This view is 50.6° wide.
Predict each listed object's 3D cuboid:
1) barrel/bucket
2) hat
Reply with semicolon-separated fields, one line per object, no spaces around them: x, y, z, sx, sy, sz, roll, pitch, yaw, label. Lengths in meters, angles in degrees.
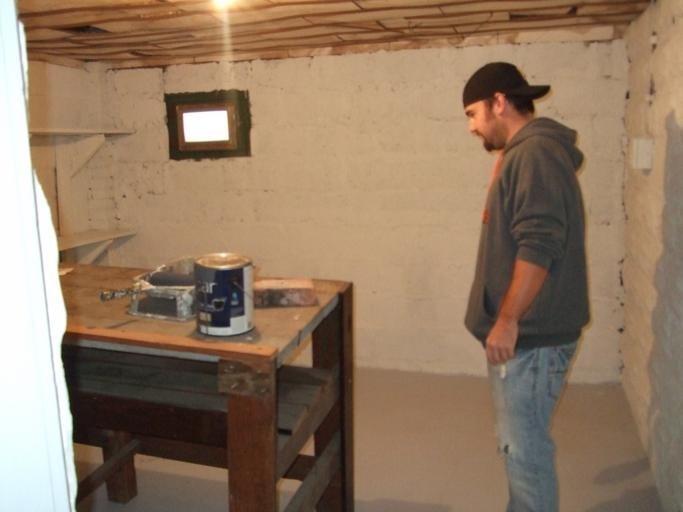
-0.412;0.140;2.856;0.279;0.304;0.278;0;10;0;barrel/bucket
0.713;-0.776;3.229;0.414;0.208;0.261;-10;1;12;hat
